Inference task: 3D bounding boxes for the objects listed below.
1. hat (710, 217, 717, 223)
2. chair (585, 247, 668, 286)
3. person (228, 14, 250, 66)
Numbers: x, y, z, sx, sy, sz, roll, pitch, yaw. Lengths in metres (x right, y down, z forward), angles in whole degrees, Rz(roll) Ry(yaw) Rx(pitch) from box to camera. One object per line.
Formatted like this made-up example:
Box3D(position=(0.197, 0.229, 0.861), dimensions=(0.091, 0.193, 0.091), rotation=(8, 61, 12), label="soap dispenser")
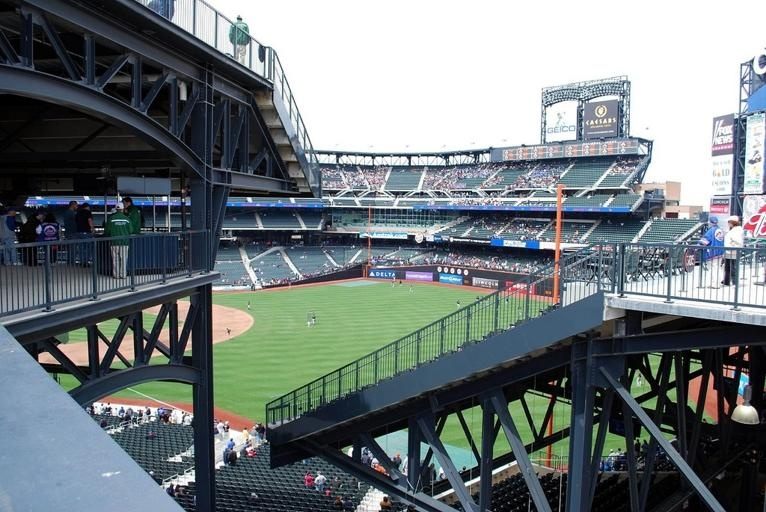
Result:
Box3D(position=(8.969, -0.981, 23.974), dimensions=(0.208, 0.115, 0.327), rotation=(4, 5, 16), label="hat")
Box3D(position=(6.310, 0.196, 22.633), dimensions=(2.156, 0.964, 0.958), rotation=(0, 3, -20), label="chair")
Box3D(position=(-4.120, -6.326, 25.672), dimensions=(0.630, 1.490, 1.553), rotation=(0, 3, -9), label="person")
